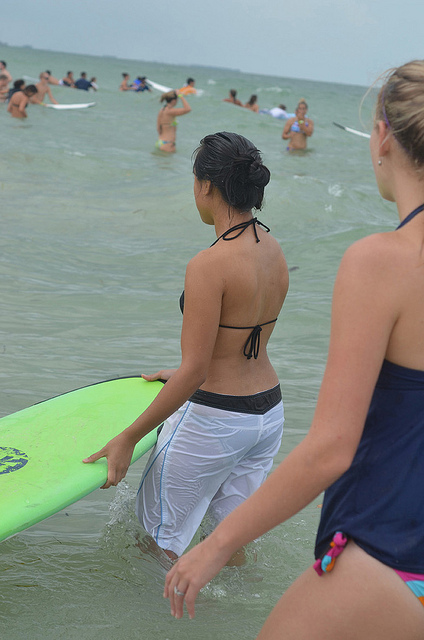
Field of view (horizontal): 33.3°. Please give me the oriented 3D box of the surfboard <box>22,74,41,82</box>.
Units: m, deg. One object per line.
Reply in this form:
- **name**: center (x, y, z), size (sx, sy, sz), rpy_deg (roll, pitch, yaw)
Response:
- **surfboard**: center (-5.001, -6.649, 19.517), size (0.440, 0.155, 0.567), rpy_deg (5, 15, -17)

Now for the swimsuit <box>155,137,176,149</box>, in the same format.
- **swimsuit**: center (-0.939, -3.697, 14.741), size (0.323, 0.159, 0.423), rpy_deg (-6, -1, 41)

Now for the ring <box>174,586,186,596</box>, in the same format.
- **ring**: center (-0.066, 0.538, 1.405), size (0.022, 0.009, 0.018), rpy_deg (16, -14, -24)

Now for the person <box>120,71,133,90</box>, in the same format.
- **person**: center (-2.446, -6.799, 20.365), size (0.357, 0.463, 0.859), rpy_deg (9, 15, -11)

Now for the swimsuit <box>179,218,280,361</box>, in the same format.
- **swimsuit**: center (0.042, -0.122, 2.515), size (0.406, 0.496, 0.309), rpy_deg (4, 18, -23)

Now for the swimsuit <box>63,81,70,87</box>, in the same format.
- **swimsuit**: center (-3.970, -6.417, 19.310), size (0.179, 0.107, 0.273), rpy_deg (5, 15, -17)

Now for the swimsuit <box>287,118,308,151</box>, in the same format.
- **swimsuit**: center (1.895, -4.058, 15.628), size (0.338, 0.718, 0.635), rpy_deg (14, 16, 3)

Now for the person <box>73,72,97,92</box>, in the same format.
- **person**: center (-3.537, -6.632, 19.883), size (0.667, 0.449, 1.251), rpy_deg (7, 15, -12)

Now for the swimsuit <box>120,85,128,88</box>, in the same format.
- **swimsuit**: center (-2.498, -6.634, 20.178), size (0.173, 0.051, 0.121), rpy_deg (-10, 14, -25)
